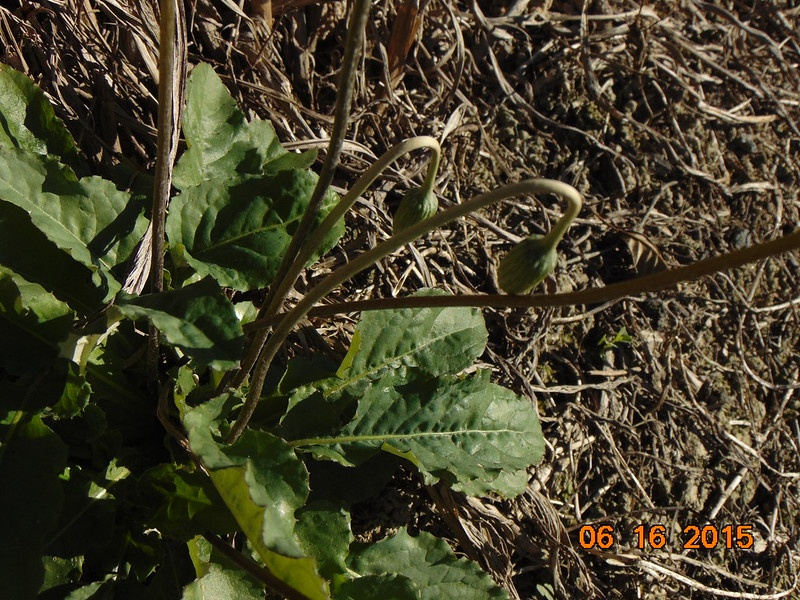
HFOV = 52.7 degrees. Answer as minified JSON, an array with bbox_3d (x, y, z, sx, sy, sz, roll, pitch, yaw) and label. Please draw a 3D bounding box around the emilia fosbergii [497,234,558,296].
[{"bbox_3d":[0.290,-0.087,1.860,0.096,0.146,0.051,47,10,-3],"label":"emilia fosbergii"}]
